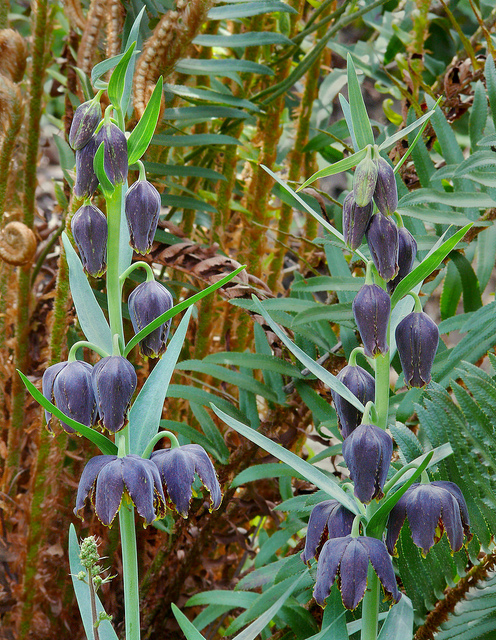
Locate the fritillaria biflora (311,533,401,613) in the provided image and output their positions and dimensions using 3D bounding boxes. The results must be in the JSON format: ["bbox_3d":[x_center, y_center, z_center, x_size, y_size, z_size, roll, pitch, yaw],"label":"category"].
[{"bbox_3d":[0.081,0.190,0.576,0.069,0.052,0.072,-5,-12,7],"label":"fritillaria biflora"}]
